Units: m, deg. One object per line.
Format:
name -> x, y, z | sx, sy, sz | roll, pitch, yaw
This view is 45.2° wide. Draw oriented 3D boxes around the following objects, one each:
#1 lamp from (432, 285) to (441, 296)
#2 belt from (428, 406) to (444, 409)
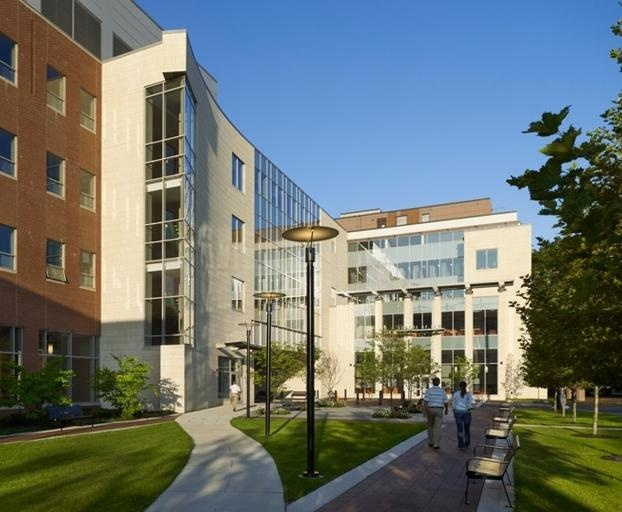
lamp -> 11.076, 3.015, 65.270 | 0.488, 0.927, 1.130 | -13, -18, 36
belt -> 3.992, 4.805, 23.868 | 0.442, 0.099, 0.078 | -7, -15, 14
